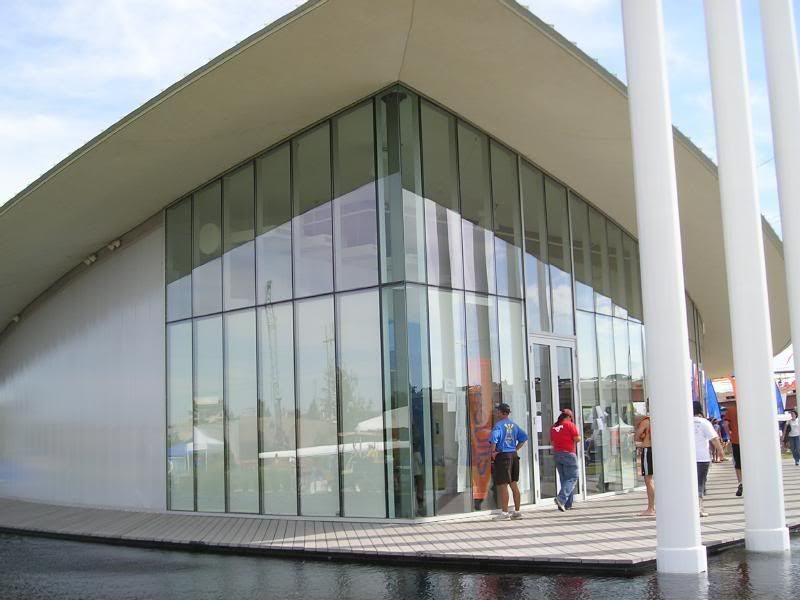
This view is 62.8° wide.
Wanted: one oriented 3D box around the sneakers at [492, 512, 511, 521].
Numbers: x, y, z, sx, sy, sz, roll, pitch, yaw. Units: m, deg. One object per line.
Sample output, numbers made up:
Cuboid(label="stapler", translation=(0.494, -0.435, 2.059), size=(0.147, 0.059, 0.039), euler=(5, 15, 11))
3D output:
Cuboid(label="sneakers", translation=(2.042, 4.373, 13.369), size=(0.392, 0.203, 0.172), euler=(-4, -9, 22))

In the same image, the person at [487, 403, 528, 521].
Cuboid(label="person", translation=(2.267, 3.308, 13.741), size=(0.723, 2.305, 1.052), euler=(-3, -7, 9))

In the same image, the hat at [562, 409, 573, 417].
Cuboid(label="hat", translation=(3.712, 2.506, 14.636), size=(0.270, 0.168, 0.457), euler=(0, -11, 4))

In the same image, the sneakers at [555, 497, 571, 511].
Cuboid(label="sneakers", translation=(3.461, 4.316, 13.909), size=(0.101, 0.350, 0.127), euler=(-20, 5, 5))

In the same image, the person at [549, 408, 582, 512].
Cuboid(label="person", translation=(3.539, 3.416, 14.025), size=(0.539, 2.094, 0.443), euler=(-4, -6, 13))

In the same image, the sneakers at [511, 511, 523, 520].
Cuboid(label="sneakers", translation=(2.374, 4.384, 13.367), size=(0.125, 0.144, 0.206), euler=(2, -10, -29))
